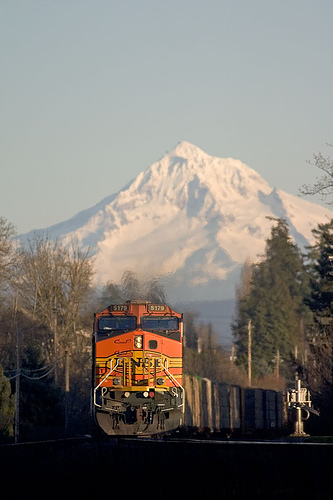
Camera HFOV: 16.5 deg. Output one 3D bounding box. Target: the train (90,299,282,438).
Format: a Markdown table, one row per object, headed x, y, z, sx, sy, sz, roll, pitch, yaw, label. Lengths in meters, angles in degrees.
| x | y | z | sx | sy | sz | roll | pitch | yaw | label |
| --- | --- | --- | --- | --- | --- | --- | --- | --- | --- |
| 2.311 | 7.221 | 53.000 | 3.592 | 4.831 | 29.642 | -4 | -14 | 14 | train |
